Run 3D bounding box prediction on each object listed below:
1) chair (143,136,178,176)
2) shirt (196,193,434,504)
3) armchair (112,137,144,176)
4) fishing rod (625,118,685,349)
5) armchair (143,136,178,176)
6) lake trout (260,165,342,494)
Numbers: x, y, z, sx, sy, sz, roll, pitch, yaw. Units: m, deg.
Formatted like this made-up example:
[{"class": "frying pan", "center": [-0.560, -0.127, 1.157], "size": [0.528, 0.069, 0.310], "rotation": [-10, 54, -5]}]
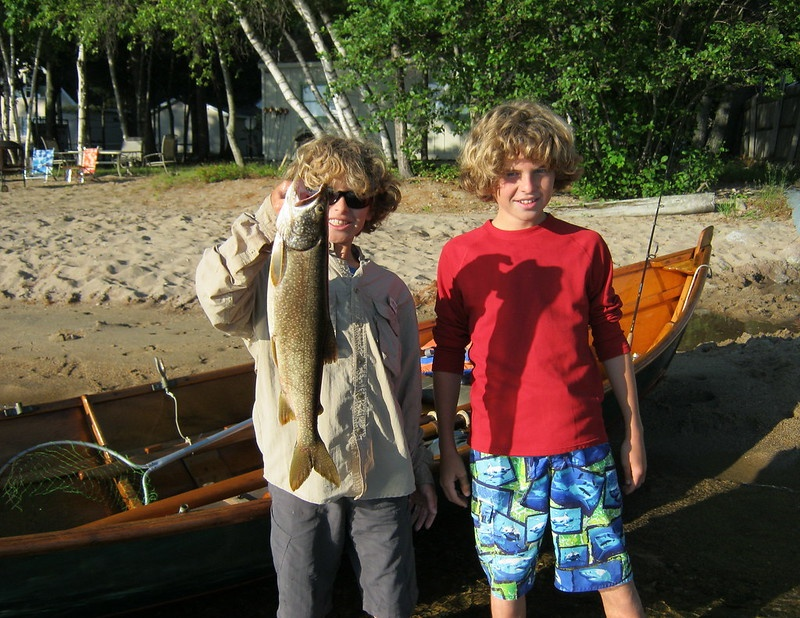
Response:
[{"class": "chair", "center": [-6.470, -4.090, 19.443], "size": [0.781, 1.115, 0.707], "rotation": [-2, 14, 17]}, {"class": "shirt", "center": [-0.283, 0.303, 3.214], "size": [0.873, 1.500, 0.430], "rotation": [7, -10, -32]}, {"class": "armchair", "center": [-7.710, -4.309, 20.503], "size": [0.746, 1.158, 1.112], "rotation": [0, 13, -26]}, {"class": "fishing rod", "center": [3.473, -1.128, 9.808], "size": [0.084, 4.143, 0.200], "rotation": [13, 2, -6]}, {"class": "armchair", "center": [-6.478, -4.085, 19.423], "size": [0.827, 1.111, 0.777], "rotation": [1, 15, 26]}, {"class": "lake trout", "center": [-0.401, 0.129, 2.939], "size": [0.249, 1.273, 0.165], "rotation": [-3, 13, -9]}]
